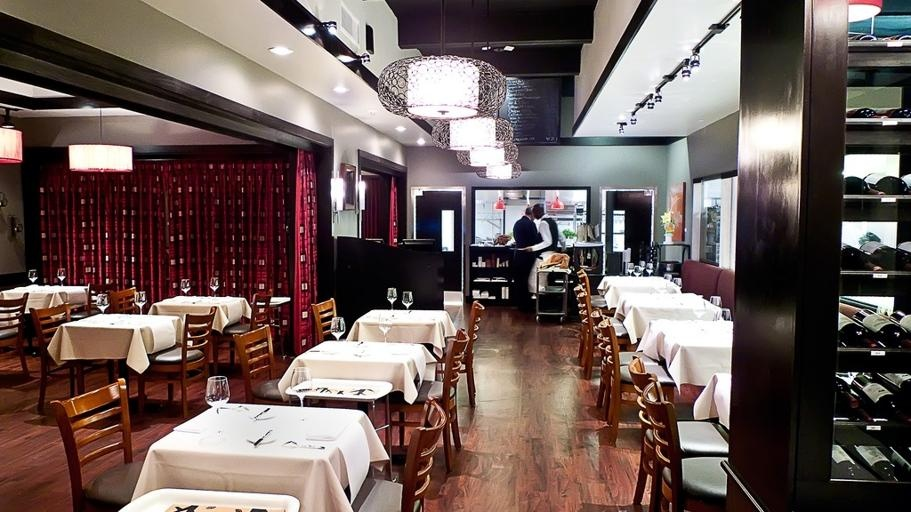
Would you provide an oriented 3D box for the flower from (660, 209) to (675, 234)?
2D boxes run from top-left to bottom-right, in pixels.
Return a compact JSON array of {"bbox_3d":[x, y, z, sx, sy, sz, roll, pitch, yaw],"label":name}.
[{"bbox_3d":[4.698,-0.739,12.648,0.518,0.515,0.464,-2,4,19],"label":"flower"}]

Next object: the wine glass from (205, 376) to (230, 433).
[{"bbox_3d":[-2.054,1.185,5.076,0.172,0.362,0.256,-4,13,-18],"label":"wine glass"}]

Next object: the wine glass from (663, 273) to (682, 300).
[{"bbox_3d":[3.694,0.532,10.028,0.415,0.402,0.350,-1,2,-17],"label":"wine glass"}]

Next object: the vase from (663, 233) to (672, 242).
[{"bbox_3d":[4.636,-0.403,12.876,0.203,0.184,0.179,3,9,25],"label":"vase"}]

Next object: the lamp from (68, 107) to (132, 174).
[{"bbox_3d":[-5.586,-1.812,9.227,1.159,0.776,1.109,1,11,-14],"label":"lamp"}]

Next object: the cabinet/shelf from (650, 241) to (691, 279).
[{"bbox_3d":[4.512,0.151,12.514,0.577,0.970,0.551,5,19,5],"label":"cabinet/shelf"}]

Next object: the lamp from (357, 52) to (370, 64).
[{"bbox_3d":[-1.237,-2.630,7.841,0.228,0.065,0.214,4,4,-7],"label":"lamp"}]
